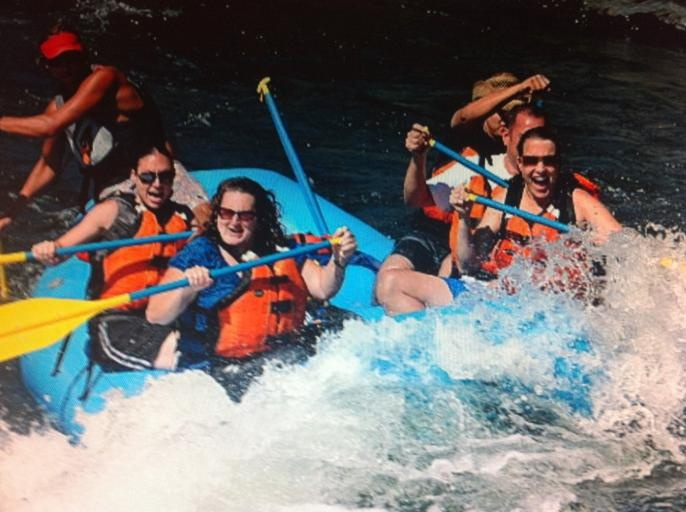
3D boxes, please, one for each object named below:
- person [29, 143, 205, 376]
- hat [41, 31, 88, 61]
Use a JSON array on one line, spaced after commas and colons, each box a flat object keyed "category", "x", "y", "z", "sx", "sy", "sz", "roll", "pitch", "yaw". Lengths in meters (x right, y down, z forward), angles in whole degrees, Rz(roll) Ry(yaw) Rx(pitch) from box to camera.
[{"category": "person", "x": -1.640, "y": 0.022, "z": 5.911, "sx": 1.216, "sy": 0.653, "sz": 1.664, "roll": 30, "pitch": 87, "yaw": -8}, {"category": "hat", "x": -2.097, "y": -1.548, "z": 5.318, "sx": 0.205, "sy": 0.138, "sz": 0.264, "roll": -14, "pitch": 8, "yaw": -1}]
